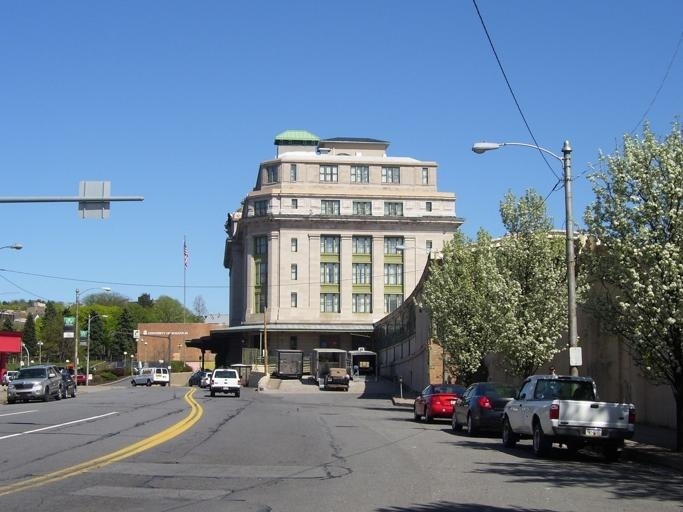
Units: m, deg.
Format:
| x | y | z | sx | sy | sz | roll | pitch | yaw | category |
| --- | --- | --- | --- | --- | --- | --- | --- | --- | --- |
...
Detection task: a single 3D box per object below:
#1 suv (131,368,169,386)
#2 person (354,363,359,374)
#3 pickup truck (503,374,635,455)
| x | y | z | sx | sy | sz | roll | pitch | yaw | category |
| --- | --- | --- | --- | --- | --- | --- | --- | --- | --- |
| -19.016 | 12.283 | 88.295 | 1.897 | 1.506 | 3.705 | 4 | -4 | -31 | suv |
| 1.333 | 9.954 | 77.675 | 0.552 | 1.058 | 0.577 | -1 | -3 | 3 | person |
| 6.158 | 4.447 | 24.797 | 1.903 | 2.362 | 3.750 | 7 | -12 | -34 | pickup truck |
